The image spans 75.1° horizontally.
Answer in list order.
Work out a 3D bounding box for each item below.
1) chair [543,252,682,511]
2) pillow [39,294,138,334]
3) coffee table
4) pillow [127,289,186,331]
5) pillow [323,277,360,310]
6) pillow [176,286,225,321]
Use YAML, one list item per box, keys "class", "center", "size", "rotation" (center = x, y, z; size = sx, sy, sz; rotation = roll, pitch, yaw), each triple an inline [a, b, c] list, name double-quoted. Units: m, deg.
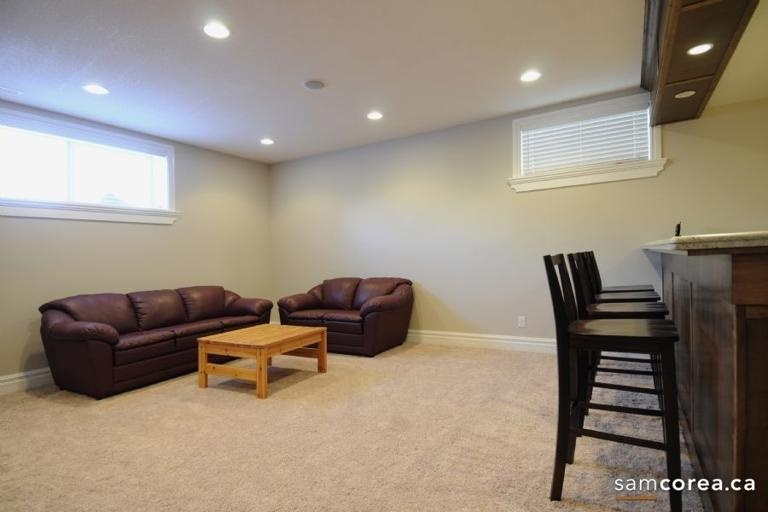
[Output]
- class: "chair"
  center: [1.669, 0.954, 3.617]
  size: [0.693, 1.234, 1.715]
  rotation: [-3, -6, 22]
- class: "pillow"
  center: [-3.246, 0.731, 5.269]
  size: [0.464, 0.412, 0.641]
  rotation: [-20, -33, 29]
- class: "coffee table"
  center: [-1.329, 0.918, 5.001]
  size: [0.738, 0.378, 0.926]
  rotation: [1, 0, 23]
- class: "pillow"
  center: [-2.636, 0.634, 5.853]
  size: [0.336, 0.443, 0.653]
  rotation: [-1, 4, 36]
- class: "pillow"
  center: [-0.628, 0.527, 6.944]
  size: [0.660, 0.464, 0.348]
  rotation: [-5, 3, 38]
- class: "pillow"
  center: [-2.276, 0.600, 6.138]
  size: [0.143, 0.273, 0.412]
  rotation: [-40, -21, 25]
